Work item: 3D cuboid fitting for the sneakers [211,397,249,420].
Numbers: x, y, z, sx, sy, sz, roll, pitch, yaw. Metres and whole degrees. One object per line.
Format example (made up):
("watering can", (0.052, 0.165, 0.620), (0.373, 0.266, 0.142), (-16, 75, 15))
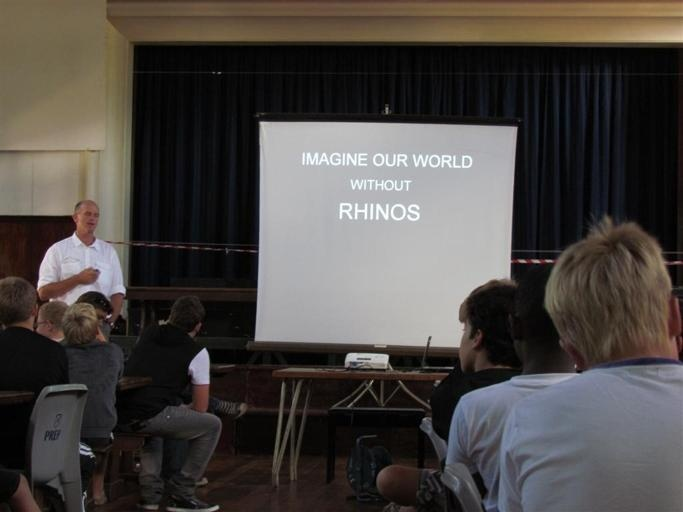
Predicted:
("sneakers", (-0.871, 1.178, 6.771), (0.305, 0.113, 0.236), (-12, -31, -4))

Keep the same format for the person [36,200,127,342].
("person", (-2.130, 0.407, 7.247), (0.713, 1.768, 0.520), (0, 3, -39))

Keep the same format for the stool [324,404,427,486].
("stool", (0.244, 1.455, 6.820), (0.754, 0.689, 0.444), (2, 8, -6))

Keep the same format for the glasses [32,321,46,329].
("glasses", (-2.030, 0.459, 5.870), (0.120, 0.042, 0.131), (2, -11, -16))

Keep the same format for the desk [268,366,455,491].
("desk", (0.013, 1.565, 6.838), (1.451, 0.828, 0.804), (1, -11, -2))
